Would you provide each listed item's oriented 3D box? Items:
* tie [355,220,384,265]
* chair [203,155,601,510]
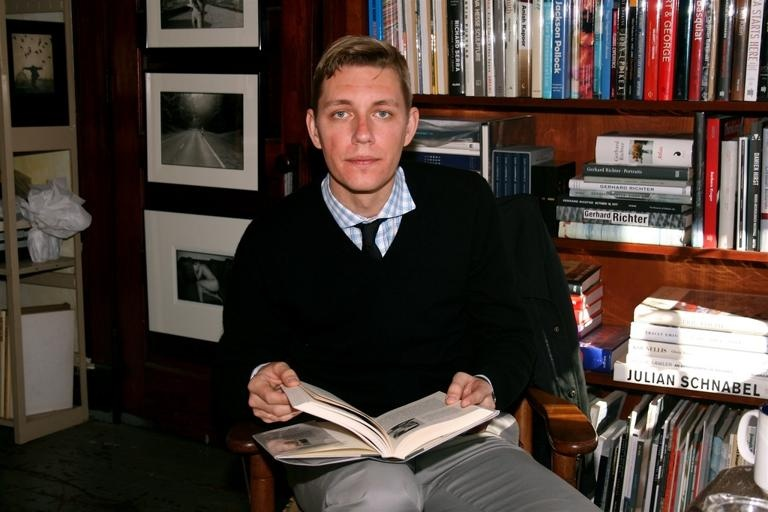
[{"bbox_3d":[-0.036,-0.042,2.122,0.087,0.126,0.043,-7,8,-7],"label":"tie"},{"bbox_3d":[-0.046,0.198,2.429,0.853,1.026,1.221,-6,14,-9],"label":"chair"}]
